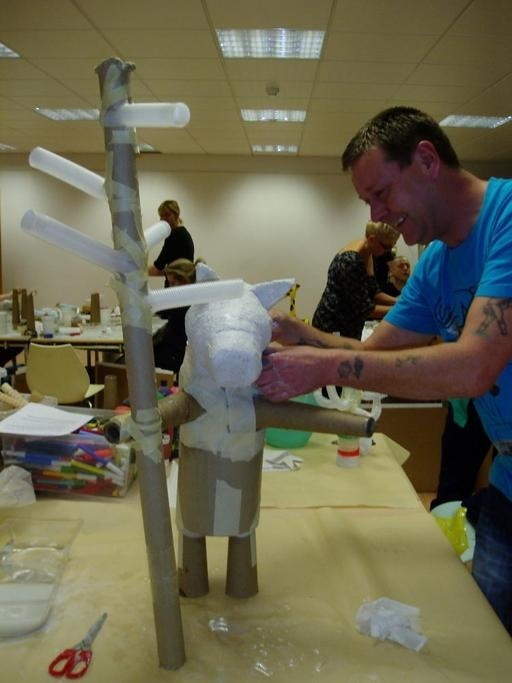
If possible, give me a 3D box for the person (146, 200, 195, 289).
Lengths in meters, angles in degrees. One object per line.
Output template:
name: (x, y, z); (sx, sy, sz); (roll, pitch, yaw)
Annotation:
person: (-0.821, -0.842, 4.911); (0.476, 0.716, 0.361); (12, -5, -25)
